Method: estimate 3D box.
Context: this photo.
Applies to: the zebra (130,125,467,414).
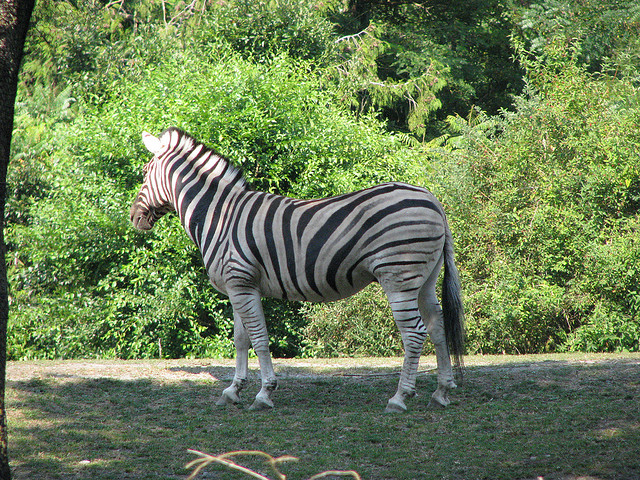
[{"bbox_3d":[-0.568,0.534,19.757,5.417,4.604,1.726,-1,0,8],"label":"zebra"}]
